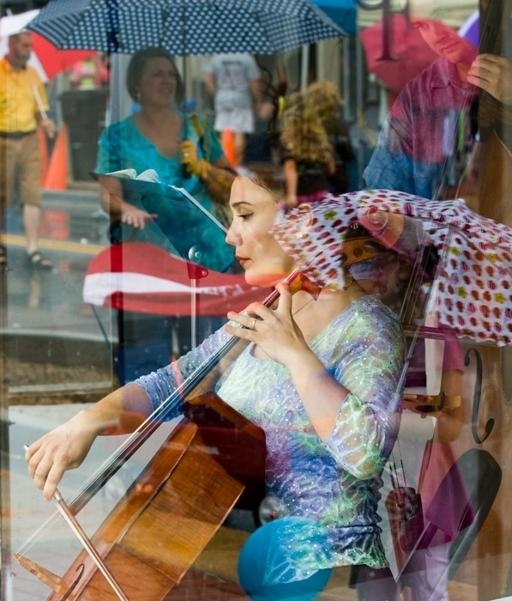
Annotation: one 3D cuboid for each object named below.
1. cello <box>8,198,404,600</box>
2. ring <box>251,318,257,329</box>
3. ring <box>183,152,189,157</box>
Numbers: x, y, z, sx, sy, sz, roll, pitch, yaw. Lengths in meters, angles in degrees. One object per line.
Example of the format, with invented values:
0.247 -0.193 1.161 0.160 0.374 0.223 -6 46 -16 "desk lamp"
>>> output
-0.092 0.159 1.424 0.789 0.722 0.502 2 -3 -24 "cello"
-0.002 0.035 1.130 0.008 0.012 0.010 0 -5 -8 "ring"
-0.111 -0.232 1.193 0.006 0.007 0.003 -2 6 -1 "ring"
